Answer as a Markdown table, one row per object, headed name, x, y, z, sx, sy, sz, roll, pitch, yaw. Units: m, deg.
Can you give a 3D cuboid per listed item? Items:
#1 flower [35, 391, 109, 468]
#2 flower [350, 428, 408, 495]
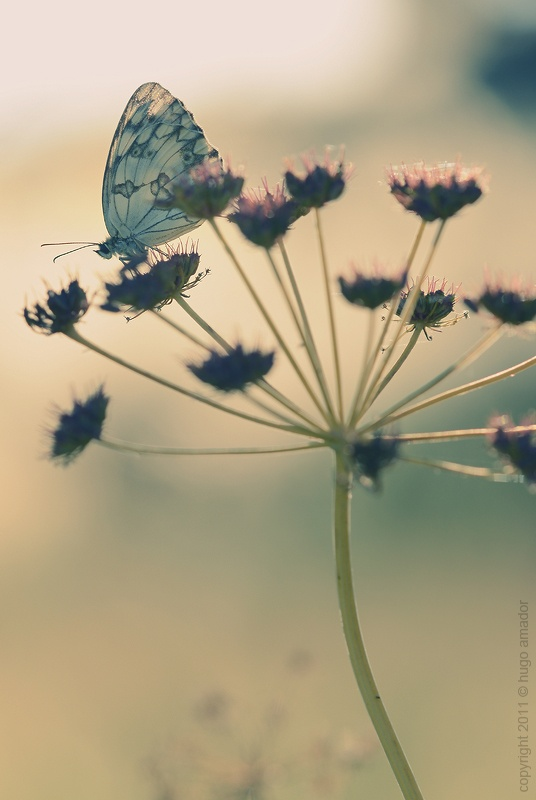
| name | x | y | z | sx | sy | sz | roll | pitch | yaw |
| --- | --- | --- | --- | --- | --- | --- | --- | --- | --- |
| flower | -0.825 | 0.118 | 3.650 | 0.305 | 0.299 | 0.129 | -10 | 21 | 0 |
| flower | 0.433 | 0.237 | 3.328 | 0.223 | 0.211 | 0.067 | 28 | 8 | 21 |
